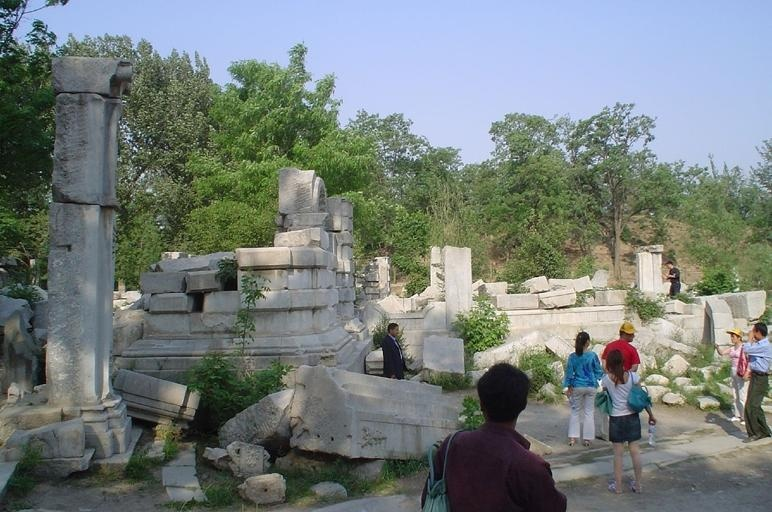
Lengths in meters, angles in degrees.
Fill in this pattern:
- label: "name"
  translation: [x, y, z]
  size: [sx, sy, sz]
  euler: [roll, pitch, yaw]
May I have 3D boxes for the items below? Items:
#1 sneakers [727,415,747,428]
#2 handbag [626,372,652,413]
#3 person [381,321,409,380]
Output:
- label: "sneakers"
  translation: [7.364, 3.473, 14.446]
  size: [0.325, 0.133, 0.111]
  euler: [4, -3, 34]
- label: "handbag"
  translation: [4.403, 2.368, 11.976]
  size: [0.324, 0.674, 0.587]
  euler: [-1, -3, 29]
- label: "person"
  translation: [0.143, 2.096, 15.186]
  size: [0.454, 1.209, 0.788]
  euler: [0, -3, 1]
